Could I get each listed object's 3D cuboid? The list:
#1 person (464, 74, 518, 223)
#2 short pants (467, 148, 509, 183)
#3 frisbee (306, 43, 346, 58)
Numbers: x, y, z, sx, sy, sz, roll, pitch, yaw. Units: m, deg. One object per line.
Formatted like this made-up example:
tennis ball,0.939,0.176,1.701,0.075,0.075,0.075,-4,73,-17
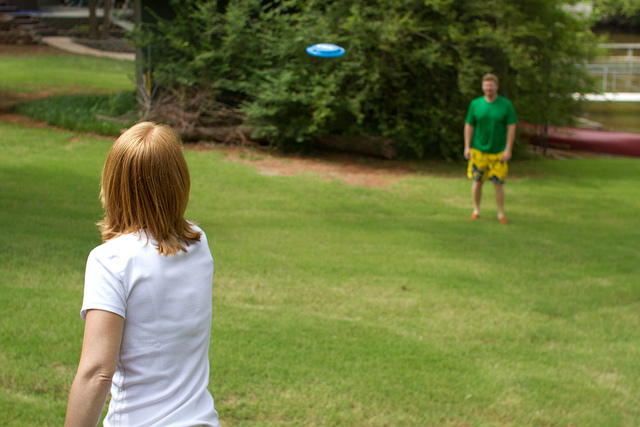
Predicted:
person,1.626,-0.619,7.363,0.493,1.373,0.292,5,8,9
short pants,1.628,-0.512,7.459,0.396,0.403,0.251,9,30,19
frisbee,0.054,-1.698,8.049,0.427,0.146,0.101,12,11,35
